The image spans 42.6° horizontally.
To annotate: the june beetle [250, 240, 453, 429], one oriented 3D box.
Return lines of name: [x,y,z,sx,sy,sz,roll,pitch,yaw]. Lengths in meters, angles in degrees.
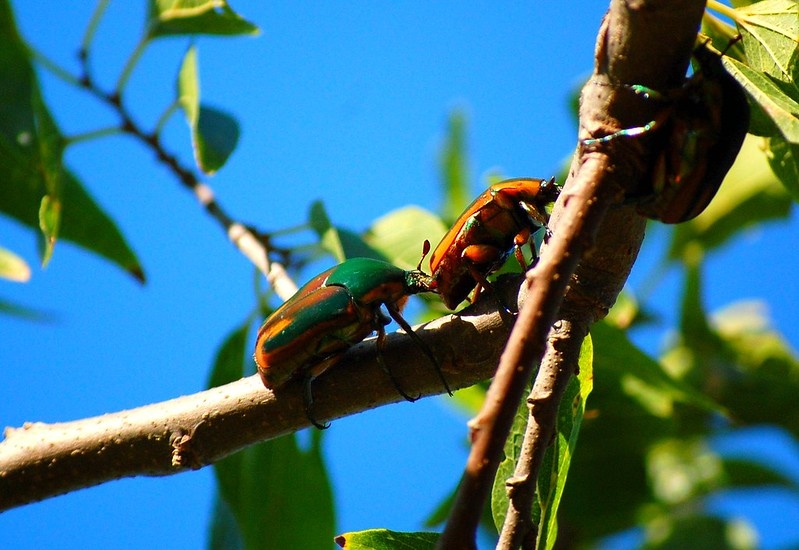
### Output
june beetle: [-0.102,0.100,2.258,0.426,0.345,0.309,-14,21,-5]

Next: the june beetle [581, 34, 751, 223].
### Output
june beetle: [0.516,-0.262,1.987,0.317,0.296,0.160,-13,2,12]
